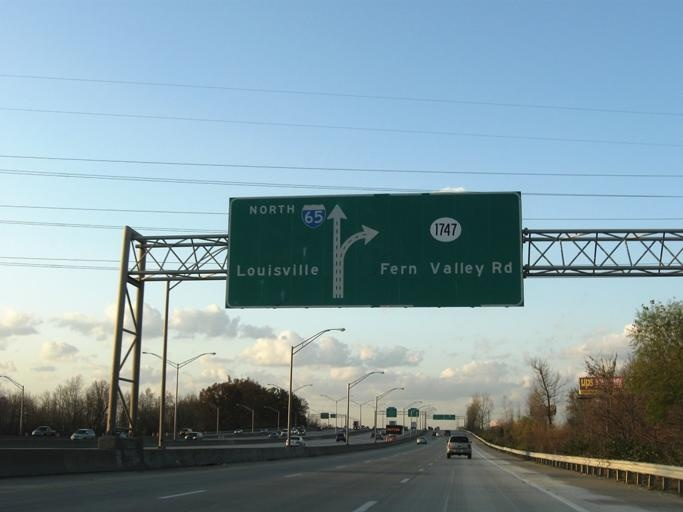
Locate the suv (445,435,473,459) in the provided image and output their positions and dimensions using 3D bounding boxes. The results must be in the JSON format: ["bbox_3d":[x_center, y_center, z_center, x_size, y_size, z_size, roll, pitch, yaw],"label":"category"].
[{"bbox_3d":[10.600,17.058,83.289,1.337,1.452,3.093,0,5,5],"label":"suv"}]

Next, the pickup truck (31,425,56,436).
[{"bbox_3d":[-38.378,22.276,119.458,1.804,1.377,2.932,-2,-21,9],"label":"pickup truck"}]
